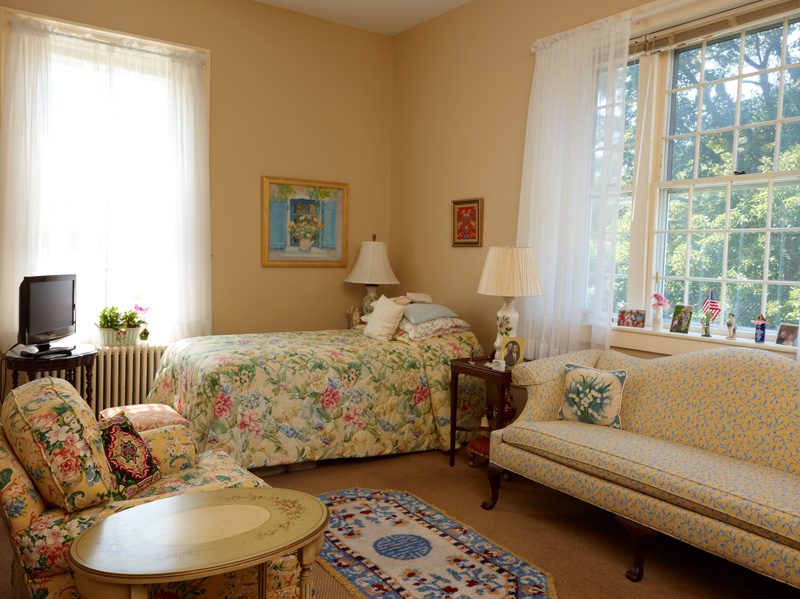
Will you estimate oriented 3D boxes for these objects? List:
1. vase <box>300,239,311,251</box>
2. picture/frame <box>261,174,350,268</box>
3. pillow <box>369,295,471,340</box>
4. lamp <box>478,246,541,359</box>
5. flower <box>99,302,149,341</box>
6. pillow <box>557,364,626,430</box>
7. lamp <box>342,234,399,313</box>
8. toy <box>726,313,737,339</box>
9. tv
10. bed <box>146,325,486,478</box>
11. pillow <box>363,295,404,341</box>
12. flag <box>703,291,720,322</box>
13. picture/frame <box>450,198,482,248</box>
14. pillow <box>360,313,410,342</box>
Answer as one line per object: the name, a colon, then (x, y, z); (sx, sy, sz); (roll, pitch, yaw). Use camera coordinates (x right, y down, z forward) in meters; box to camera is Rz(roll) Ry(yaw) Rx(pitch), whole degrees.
vase: (-0.937, -0.539, 5.763); (0.101, 0.107, 0.104); (3, -1, 12)
picture/frame: (-0.973, -0.780, 5.744); (0.901, 0.896, 0.090); (-2, 4, -31)
pillow: (0.147, 0.175, 4.989); (0.513, 0.196, 0.446); (-1, 6, -42)
lamp: (0.819, 0.011, 4.422); (0.437, 0.818, 0.569); (4, 8, 19)
flower: (-2.307, 0.199, 4.873); (0.335, 0.249, 0.291); (1, -1, -39)
pillow: (1.236, 0.625, 3.824); (0.383, 0.418, 0.154); (5, 12, 25)
lamp: (-0.280, -0.224, 6.013); (0.501, 0.807, 0.538); (-1, 5, -14)
toy: (2.158, 0.166, 3.815); (0.064, 0.160, 0.113); (5, 9, 29)
tv: (-2.560, 0.099, 4.322); (0.347, 0.570, 0.501); (7, 10, 34)
bed: (-0.583, 0.597, 4.552); (1.766, 0.635, 1.157); (1, -1, -27)
pillow: (-0.110, 0.182, 5.013); (0.103, 0.325, 0.339); (22, 0, -36)
flag: (2.075, 0.045, 3.905); (0.113, 0.201, 0.105); (6, 9, 31)
picture/frame: (0.609, -0.711, 5.371); (0.051, 0.501, 0.437); (-2, 5, -33)
pillow: (-0.156, 0.245, 4.961); (0.248, 0.239, 0.074); (8, -20, 44)
